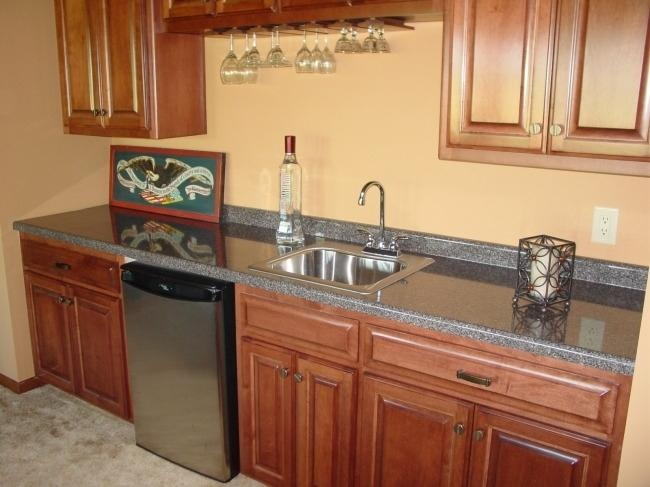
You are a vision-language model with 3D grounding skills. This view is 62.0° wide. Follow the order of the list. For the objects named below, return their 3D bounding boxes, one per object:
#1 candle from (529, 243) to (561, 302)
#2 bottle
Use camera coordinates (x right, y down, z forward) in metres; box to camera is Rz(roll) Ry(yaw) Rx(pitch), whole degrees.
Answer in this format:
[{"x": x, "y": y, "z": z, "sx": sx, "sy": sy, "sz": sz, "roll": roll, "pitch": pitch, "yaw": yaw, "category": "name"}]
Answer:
[{"x": 0.805, "y": 0.106, "z": 1.987, "sx": 0.067, "sy": 0.203, "sz": 0.098, "roll": -11, "pitch": 19, "yaw": -36, "category": "candle"}, {"x": -0.177, "y": -0.267, "z": 2.714, "sx": 0.144, "sy": 0.529, "sz": 0.243, "roll": -1, "pitch": 15, "yaw": -5, "category": "bottle"}]
